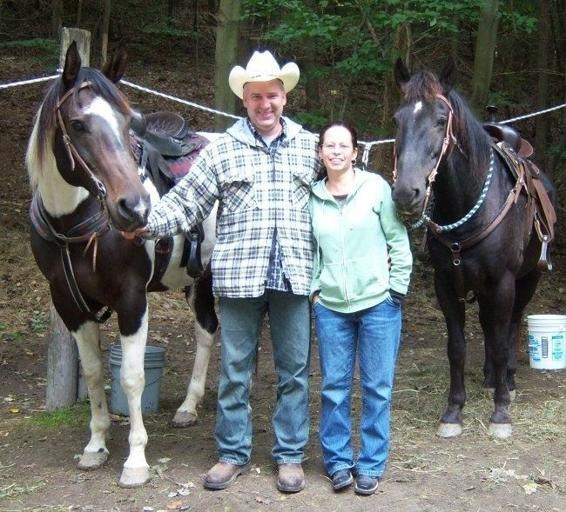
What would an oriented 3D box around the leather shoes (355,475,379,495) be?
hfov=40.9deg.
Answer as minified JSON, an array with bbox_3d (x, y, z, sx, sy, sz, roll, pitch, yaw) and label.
[{"bbox_3d":[0.472,1.311,4.358,0.128,0.097,0.092,0,11,4],"label":"leather shoes"}]

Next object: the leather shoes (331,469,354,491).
[{"bbox_3d":[0.346,1.287,4.462,0.134,0.110,0.232,0,10,4],"label":"leather shoes"}]

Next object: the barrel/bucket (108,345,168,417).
[{"bbox_3d":[-1.050,0.904,5.580,0.543,0.507,0.495,3,2,0],"label":"barrel/bucket"}]

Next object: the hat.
[{"bbox_3d":[-0.104,-1.012,4.437,0.318,0.126,0.327,-3,-3,0],"label":"hat"}]

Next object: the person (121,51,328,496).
[{"bbox_3d":[-0.221,0.079,4.454,0.874,2.501,0.623,0,11,3],"label":"person"}]

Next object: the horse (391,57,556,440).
[{"bbox_3d":[1.318,-0.043,5.318,0.797,2.420,2.149,5,12,29],"label":"horse"}]

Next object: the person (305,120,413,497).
[{"bbox_3d":[0.452,0.290,4.426,0.573,2.086,0.627,-1,11,-1],"label":"person"}]

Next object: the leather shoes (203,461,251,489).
[{"bbox_3d":[-0.336,1.272,4.494,0.250,0.095,0.100,-13,23,-42],"label":"leather shoes"}]
